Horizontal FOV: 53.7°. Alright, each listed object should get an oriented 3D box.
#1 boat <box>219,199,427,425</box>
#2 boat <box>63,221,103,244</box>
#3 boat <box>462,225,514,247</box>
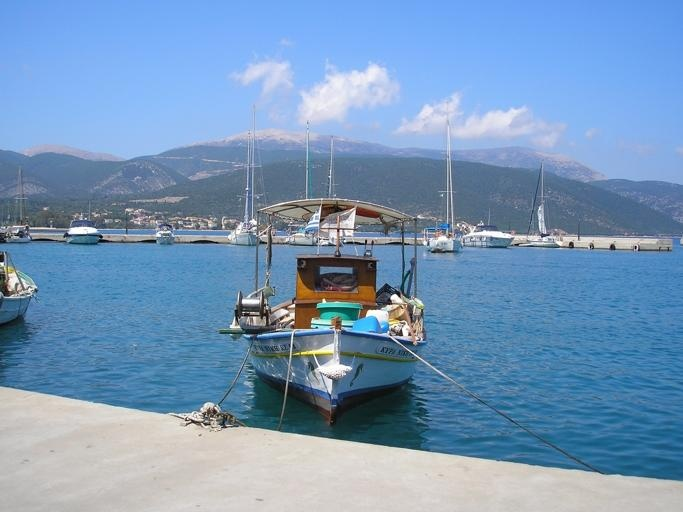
[{"bbox_3d":[-0.126,0.998,17.256,4.229,5.195,5.204,1,3,7],"label":"boat"},{"bbox_3d":[-35.805,-3.331,93.004,4.108,3.412,4.727,0,3,-19],"label":"boat"},{"bbox_3d":[23.487,-3.273,108.396,8.057,3.664,3.969,3,3,42],"label":"boat"}]
